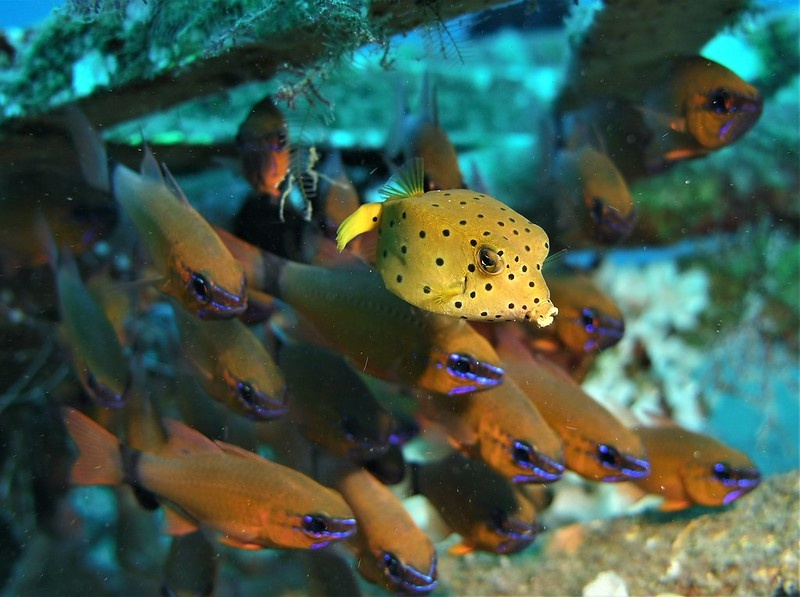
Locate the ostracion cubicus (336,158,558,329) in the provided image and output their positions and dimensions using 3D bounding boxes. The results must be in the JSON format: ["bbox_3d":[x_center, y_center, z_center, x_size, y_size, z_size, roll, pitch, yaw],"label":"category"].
[{"bbox_3d":[0.187,-0.120,2.382,0.532,0.209,0.309,17,48,20],"label":"ostracion cubicus"}]

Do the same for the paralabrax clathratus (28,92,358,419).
[{"bbox_3d":[-0.722,-0.275,2.872,0.378,0.596,1.547,-17,61,-36],"label":"paralabrax clathratus"}]

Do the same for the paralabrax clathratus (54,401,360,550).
[{"bbox_3d":[-0.618,0.579,2.759,0.998,0.227,0.209,15,47,18],"label":"paralabrax clathratus"}]
